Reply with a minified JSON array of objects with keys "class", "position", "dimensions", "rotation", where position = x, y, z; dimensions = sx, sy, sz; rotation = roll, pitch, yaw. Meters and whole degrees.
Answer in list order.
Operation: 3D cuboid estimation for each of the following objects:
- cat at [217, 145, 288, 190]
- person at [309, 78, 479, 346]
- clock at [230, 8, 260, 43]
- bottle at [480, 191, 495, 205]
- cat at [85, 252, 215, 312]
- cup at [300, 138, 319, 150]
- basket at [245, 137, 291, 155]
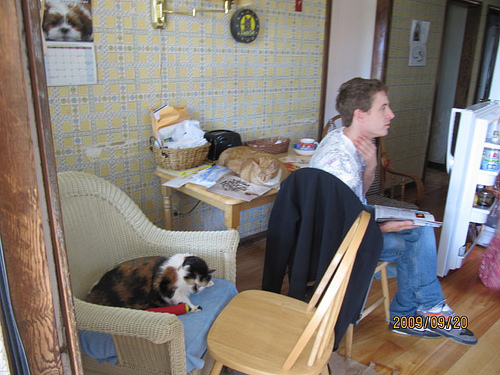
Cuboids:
[{"class":"cat","position":[0.012,-0.123,2.519],"dimensions":[0.238,0.173,0.427],"rotation":[-29,37,-36]},{"class":"person","position":[0.773,0.141,2.176],"dimensions":[1.044,1.367,0.511],"rotation":[3,25,14]},{"class":"clock","position":[-0.035,-1.154,2.805],"dimensions":[0.242,0.222,0.048],"rotation":[-15,25,-39]},{"class":"bottle","position":[1.585,0.071,2.622],"dimensions":[0.086,0.084,0.083],"rotation":[4,20,23]},{"class":"cat","position":[-0.397,0.393,1.685],"dimensions":[0.568,0.199,0.320],"rotation":[-4,15,13]},{"class":"cup","position":[0.454,-0.331,3.013],"dimensions":[0.131,0.076,0.132],"rotation":[0,17,0]},{"class":"basket","position":[0.152,-0.327,3.007],"dimensions":[0.258,0.080,0.173],"rotation":[-4,13,-26]}]
